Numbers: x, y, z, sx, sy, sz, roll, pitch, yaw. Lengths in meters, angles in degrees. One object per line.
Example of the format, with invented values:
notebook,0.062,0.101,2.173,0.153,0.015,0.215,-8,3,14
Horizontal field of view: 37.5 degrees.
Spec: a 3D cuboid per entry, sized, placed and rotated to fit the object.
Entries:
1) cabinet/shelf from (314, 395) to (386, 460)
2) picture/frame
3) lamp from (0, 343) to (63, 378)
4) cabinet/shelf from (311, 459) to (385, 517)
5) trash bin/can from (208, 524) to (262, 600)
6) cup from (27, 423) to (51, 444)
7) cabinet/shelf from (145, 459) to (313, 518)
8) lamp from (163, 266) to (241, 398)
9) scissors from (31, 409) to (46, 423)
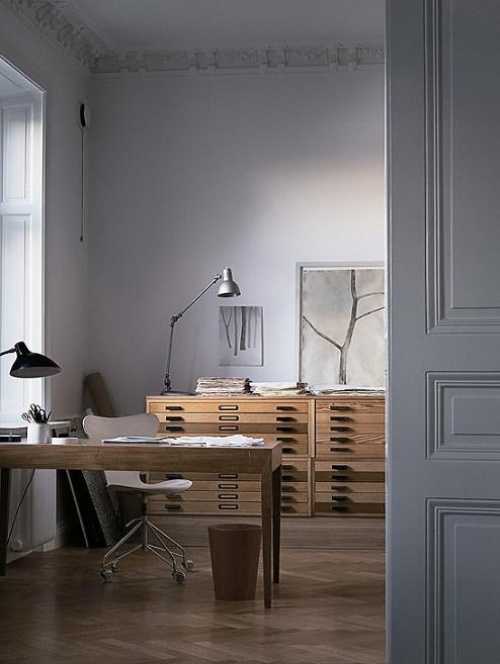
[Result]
cabinet/shelf,0.630,0.632,4.861,0.479,0.391,0.168,2,-5,-8
picture/frame,0.654,-0.031,5.174,0.946,1.198,0.050,0,-6,1
lamp,-1.109,0.136,3.711,0.266,0.181,0.208,-3,-4,34
cabinet/shelf,0.698,1.030,4.880,0.542,0.369,0.295,-7,-14,35
trash bin/can,-0.088,1.152,3.686,0.300,0.324,0.301,-3,-12,14
cup,-1.075,0.530,3.807,0.115,0.082,0.088,2,-4,3
cabinet/shelf,-0.115,1.041,5.001,1.142,0.399,0.368,-5,-9,22
lamp,-0.339,-0.032,5.182,0.562,0.914,0.644,0,-4,-4
scissors,-1.109,0.435,3.894,0.035,0.098,0.096,-17,21,-30
